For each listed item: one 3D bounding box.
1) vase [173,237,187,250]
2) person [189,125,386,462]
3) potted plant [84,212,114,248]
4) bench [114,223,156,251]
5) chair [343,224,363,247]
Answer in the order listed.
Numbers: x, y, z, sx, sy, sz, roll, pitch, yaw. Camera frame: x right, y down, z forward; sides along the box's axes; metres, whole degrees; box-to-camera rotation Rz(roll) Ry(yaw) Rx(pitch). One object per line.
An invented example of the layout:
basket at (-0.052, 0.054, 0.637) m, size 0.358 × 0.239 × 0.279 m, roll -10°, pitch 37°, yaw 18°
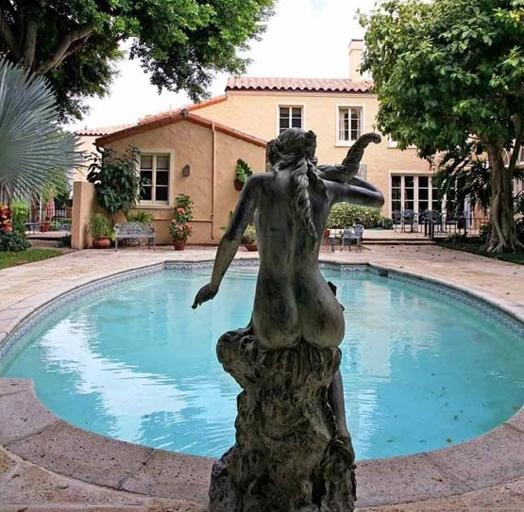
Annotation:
vase at (-2.566, -0.382, 14.894) m, size 0.358 × 0.331 × 0.537 m, roll -1°, pitch 5°, yaw -18°
person at (0.114, -0.076, 1.870) m, size 0.760 × 0.867 × 0.363 m, roll 0°, pitch 5°, yaw -10°
potted plant at (-4.966, -0.775, 14.581) m, size 0.656 × 0.990 × 0.562 m, roll 1°, pitch 5°, yaw 9°
bench at (-3.946, -0.666, 14.763) m, size 1.126 × 0.814 × 1.936 m, roll -1°, pitch 5°, yaw -17°
chair at (2.957, -0.680, 15.005) m, size 0.600 × 0.904 × 0.776 m, roll 1°, pitch -3°, yaw 0°
